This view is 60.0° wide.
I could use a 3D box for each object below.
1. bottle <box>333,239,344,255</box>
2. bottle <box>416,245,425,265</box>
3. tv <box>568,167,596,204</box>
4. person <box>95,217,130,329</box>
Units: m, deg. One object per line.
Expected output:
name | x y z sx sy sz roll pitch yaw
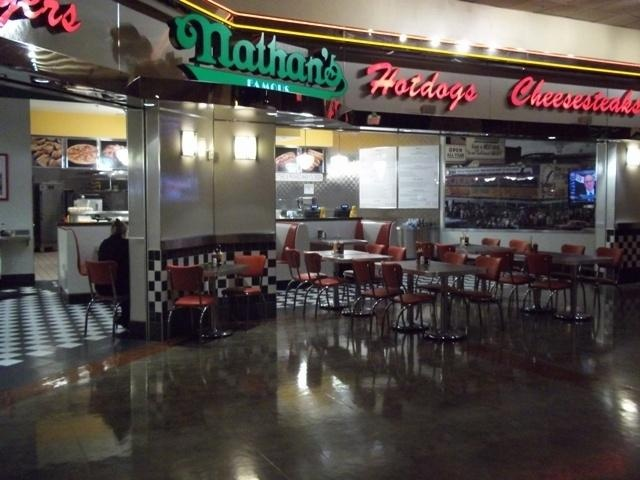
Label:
bottle | 0.295 0.120 9.458 0.186 0.304 0.202 1 0 0
bottle | 1.492 0.222 8.281 0.094 0.232 0.333 0 5 6
tv | 6.059 -1.293 12.819 0.106 1.041 0.813 -7 7 -41
person | -3.061 0.491 8.262 0.402 1.596 0.650 -2 5 -23
